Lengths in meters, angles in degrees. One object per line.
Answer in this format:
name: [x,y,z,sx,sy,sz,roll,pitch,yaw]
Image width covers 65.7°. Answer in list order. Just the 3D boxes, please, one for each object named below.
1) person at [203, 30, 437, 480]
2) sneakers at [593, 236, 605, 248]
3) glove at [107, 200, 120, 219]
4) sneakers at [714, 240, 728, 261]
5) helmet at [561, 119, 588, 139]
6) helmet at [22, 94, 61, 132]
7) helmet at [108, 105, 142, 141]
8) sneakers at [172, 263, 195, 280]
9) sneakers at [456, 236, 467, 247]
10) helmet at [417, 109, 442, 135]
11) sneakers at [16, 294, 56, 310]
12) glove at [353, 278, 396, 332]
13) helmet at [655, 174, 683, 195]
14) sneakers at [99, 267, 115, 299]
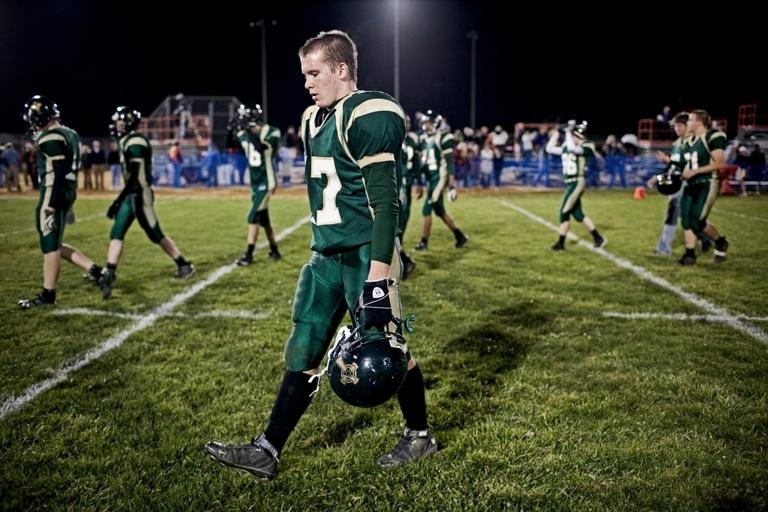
person: [-0.421,0.032,4.324,1.102,3.221,0.659,2,12,9]
sneakers: [3.403,-0.222,9.378,0.240,0.099,0.079,-34,-3,-45]
glove: [-3.276,-0.576,7.199,0.143,0.229,0.212,-5,13,-24]
sneakers: [4.752,-0.089,8.380,0.122,0.281,0.096,38,-13,-29]
helmet: [3.004,-2.002,9.316,0.268,0.179,0.349,25,13,8]
helmet: [-3.807,-1.559,6.592,0.407,0.402,0.332,35,29,25]
helmet: [-3.097,-1.597,7.130,0.392,0.391,0.318,13,16,17]
sneakers: [-2.576,0.181,7.652,0.255,0.162,0.128,-3,3,-16]
sneakers: [1.308,-0.268,9.984,0.094,0.118,0.288,-19,14,44]
helmet: [0.791,-2.207,9.898,0.439,0.403,0.338,18,-11,-38]
sneakers: [-3.904,0.485,6.679,0.371,0.118,0.232,-7,14,-30]
glove: [-0.059,0.328,4.096,0.292,0.333,0.142,0,1,-9]
helmet: [4.074,-1.034,8.468,0.405,0.307,0.334,1,12,1]
sneakers: [-3.206,0.288,6.932,0.162,0.384,0.141,10,1,41]
